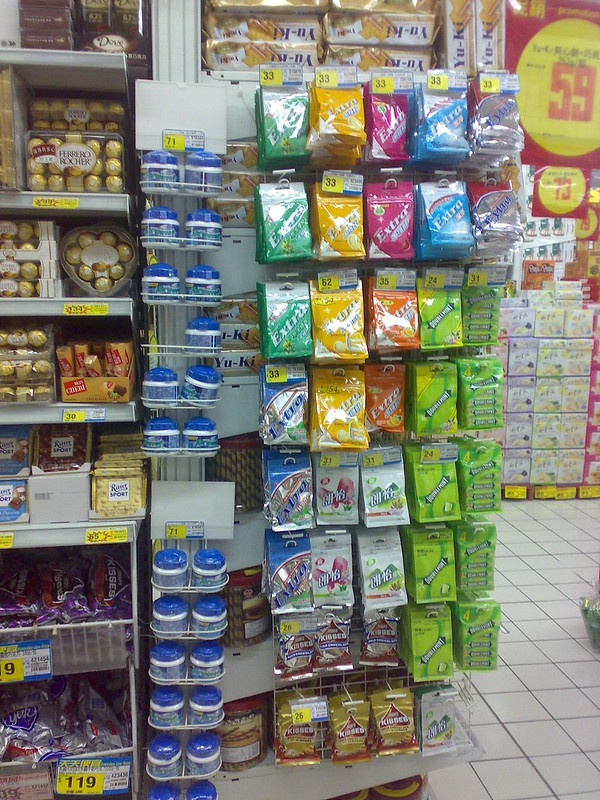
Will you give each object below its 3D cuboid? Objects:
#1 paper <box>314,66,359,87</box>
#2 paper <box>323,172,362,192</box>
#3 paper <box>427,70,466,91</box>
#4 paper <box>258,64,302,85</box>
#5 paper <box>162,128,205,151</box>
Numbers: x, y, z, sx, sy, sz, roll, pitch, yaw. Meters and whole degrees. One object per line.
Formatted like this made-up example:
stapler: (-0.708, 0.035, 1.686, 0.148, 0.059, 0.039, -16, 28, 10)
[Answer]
paper: (0.112, -0.963, 2.066, 0.114, 0.065, 0.023, -1, 5, -8)
paper: (0.132, -0.663, 2.136, 0.100, 0.073, 0.023, 2, 4, -10)
paper: (0.458, -0.991, 2.167, 0.082, 0.082, 0.020, -3, 9, -14)
paper: (-0.055, -0.986, 2.122, 0.128, 0.065, 0.029, -1, 9, -8)
paper: (-0.359, -0.801, 2.150, 0.130, 0.063, 0.027, -2, 10, -15)
